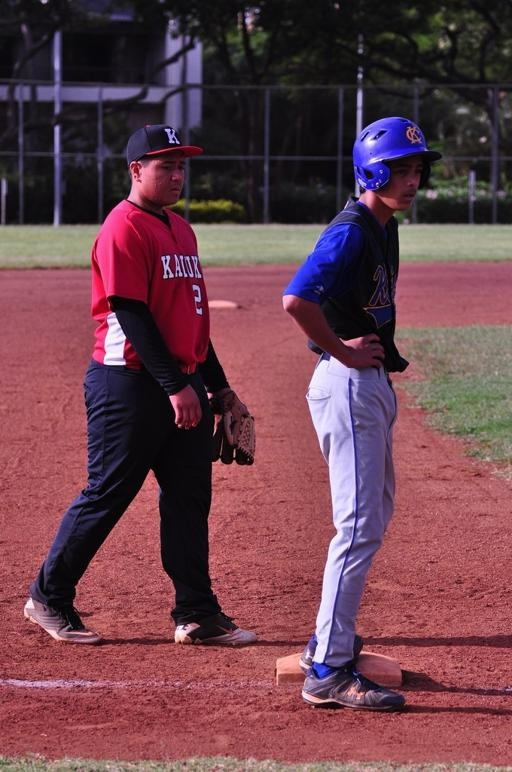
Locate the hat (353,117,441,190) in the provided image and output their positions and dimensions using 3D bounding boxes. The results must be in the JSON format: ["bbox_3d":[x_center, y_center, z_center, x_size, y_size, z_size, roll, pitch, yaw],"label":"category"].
[{"bbox_3d":[0.417,-0.690,3.343,0.262,0.190,0.199,-1,13,18],"label":"hat"}]

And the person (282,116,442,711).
[{"bbox_3d":[0.307,0.072,3.357,0.420,1.789,0.460,2,5,11],"label":"person"}]

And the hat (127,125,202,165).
[{"bbox_3d":[-0.319,-0.780,3.662,0.221,0.110,0.136,-14,3,25],"label":"hat"}]

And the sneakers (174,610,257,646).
[{"bbox_3d":[-0.143,0.847,3.909,0.300,0.128,0.102,1,-1,-8],"label":"sneakers"}]

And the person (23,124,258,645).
[{"bbox_3d":[-0.373,0.015,3.734,0.787,1.763,0.522,0,5,-11],"label":"person"}]

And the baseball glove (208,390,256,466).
[{"bbox_3d":[-0.092,0.162,4.078,0.231,0.235,0.108,10,-2,-23],"label":"baseball glove"}]

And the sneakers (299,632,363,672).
[{"bbox_3d":[0.250,0.836,3.571,0.275,0.110,0.088,-4,10,-22],"label":"sneakers"}]

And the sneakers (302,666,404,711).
[{"bbox_3d":[0.279,0.916,3.401,0.352,0.132,0.116,3,-11,3],"label":"sneakers"}]
